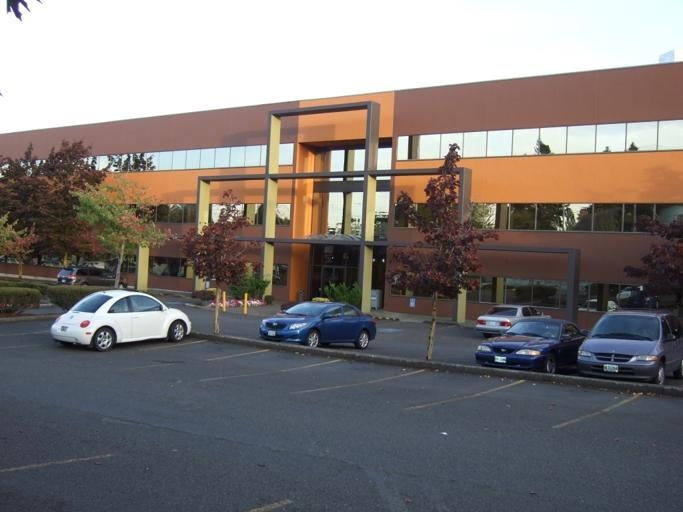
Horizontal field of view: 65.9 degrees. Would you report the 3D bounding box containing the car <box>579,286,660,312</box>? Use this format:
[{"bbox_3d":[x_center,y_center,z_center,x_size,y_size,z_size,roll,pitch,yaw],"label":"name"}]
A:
[{"bbox_3d":[15.376,2.383,29.319,3.088,1.084,1.434,4,-1,18],"label":"car"}]

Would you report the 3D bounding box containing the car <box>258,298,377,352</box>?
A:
[{"bbox_3d":[-0.739,2.564,19.341,4.023,1.686,1.354,5,-6,-36],"label":"car"}]

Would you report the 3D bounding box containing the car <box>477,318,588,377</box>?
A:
[{"bbox_3d":[6.042,2.692,15.879,1.648,1.050,3.233,-4,-7,38],"label":"car"}]

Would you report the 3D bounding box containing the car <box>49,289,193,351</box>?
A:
[{"bbox_3d":[-7.146,2.054,17.037,1.919,1.421,3.620,3,3,44],"label":"car"}]
